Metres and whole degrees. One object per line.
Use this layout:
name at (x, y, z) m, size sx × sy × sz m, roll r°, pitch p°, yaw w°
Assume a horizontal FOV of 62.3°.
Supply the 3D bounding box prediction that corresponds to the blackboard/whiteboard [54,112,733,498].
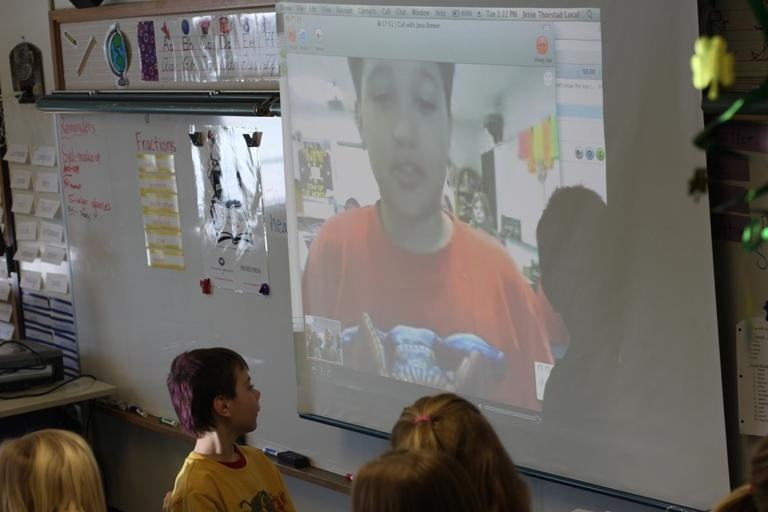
blackboard/whiteboard at (0.064, 0.150, 2.363) m, size 1.837 × 1.178 × 0.020 m, roll 5°, pitch 11°, yaw 37°
